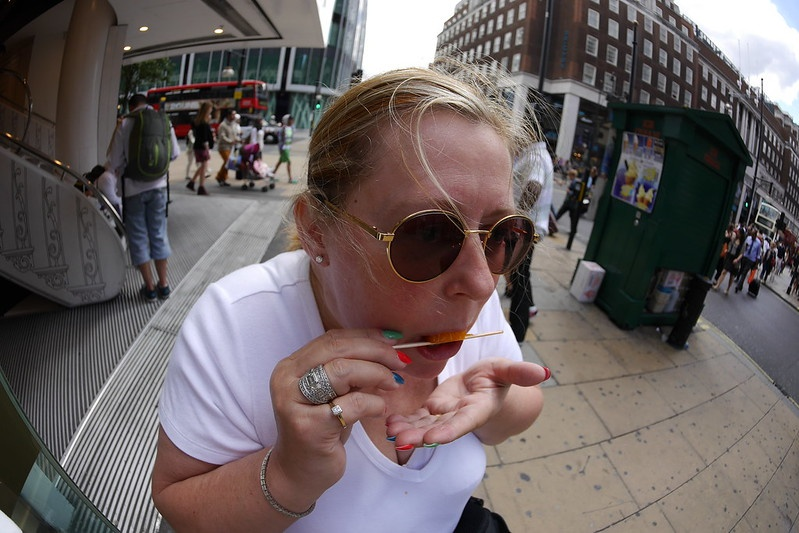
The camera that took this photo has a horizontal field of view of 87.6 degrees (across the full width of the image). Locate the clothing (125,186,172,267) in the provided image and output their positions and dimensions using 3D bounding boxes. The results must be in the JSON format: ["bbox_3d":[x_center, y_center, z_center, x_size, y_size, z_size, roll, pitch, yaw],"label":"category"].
[{"bbox_3d":[-2.126,-0.373,3.497,0.211,0.718,0.307,13,16,43],"label":"clothing"}]

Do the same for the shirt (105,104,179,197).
[{"bbox_3d":[-1.864,-0.774,3.067,0.558,0.592,0.382,8,12,30],"label":"shirt"}]

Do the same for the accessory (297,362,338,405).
[{"bbox_3d":[-0.264,0.379,1.365,0.128,0.085,0.099,42,1,14],"label":"accessory"}]

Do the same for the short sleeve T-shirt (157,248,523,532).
[{"bbox_3d":[-0.202,0.458,1.482,0.903,0.852,0.487,44,-8,-31],"label":"short sleeve T-shirt"}]

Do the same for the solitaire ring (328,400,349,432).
[{"bbox_3d":[-0.197,0.469,1.318,0.023,0.078,0.053,-33,29,-28],"label":"solitaire ring"}]

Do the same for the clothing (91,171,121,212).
[{"bbox_3d":[-2.074,-0.551,2.915,0.067,0.207,0.155,-17,68,-17],"label":"clothing"}]

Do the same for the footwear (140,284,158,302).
[{"bbox_3d":[-2.163,0.226,3.587,0.075,0.091,0.196,-12,29,-28],"label":"footwear"}]
